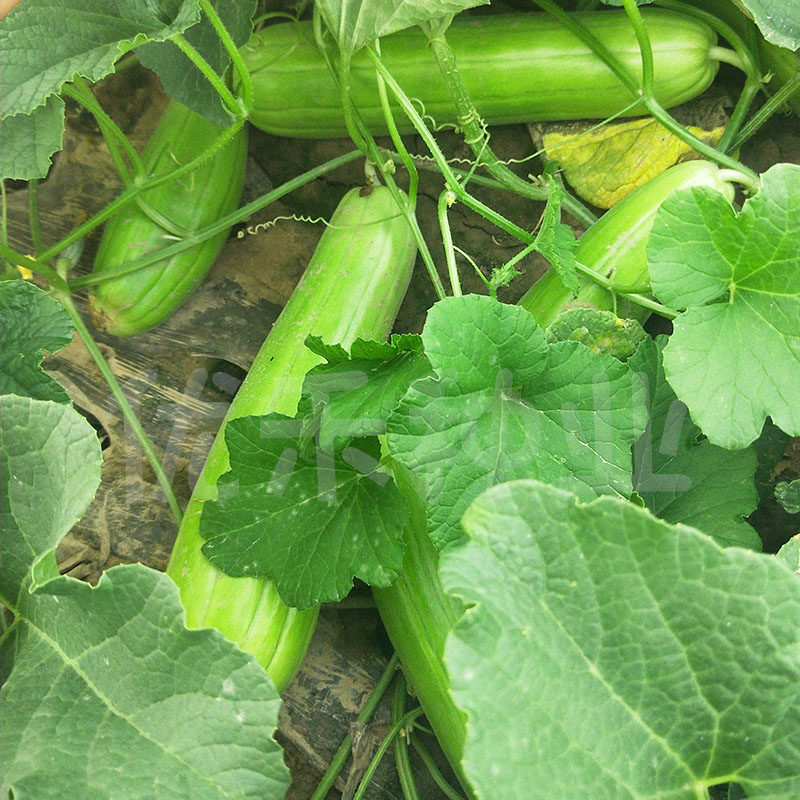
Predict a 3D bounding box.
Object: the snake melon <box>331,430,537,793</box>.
[{"bbox_3d":[0.077,0.302,1.279,0.141,0.505,0.150,-21,18,-8],"label":"snake melon"}]
